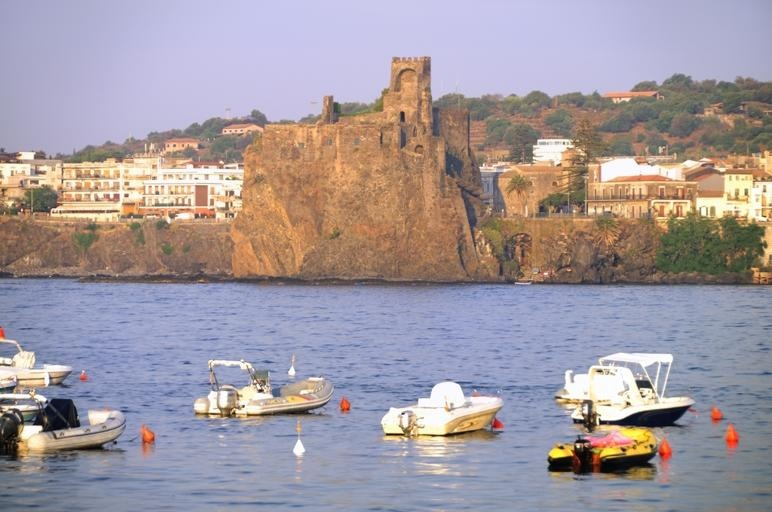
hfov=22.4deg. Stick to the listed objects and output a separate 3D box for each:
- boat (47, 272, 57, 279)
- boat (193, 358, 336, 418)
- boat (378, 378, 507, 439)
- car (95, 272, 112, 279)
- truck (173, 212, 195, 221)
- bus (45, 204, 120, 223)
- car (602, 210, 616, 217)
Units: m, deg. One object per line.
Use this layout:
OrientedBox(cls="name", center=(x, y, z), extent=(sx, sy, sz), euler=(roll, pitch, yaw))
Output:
OrientedBox(cls="boat", center=(-44.020, 2.194, 256.508), extent=(1.090, 0.724, 2.148), euler=(-3, 2, -9))
OrientedBox(cls="boat", center=(-10.364, 10.679, 165.341), extent=(10.979, 4.787, 2.293), euler=(-3, 3, -13))
OrientedBox(cls="boat", center=(5.298, 12.881, 161.923), extent=(8.890, 3.600, 4.522), euler=(-7, 9, -41))
OrientedBox(cls="car", center=(-36.591, 2.252, 252.439), extent=(2.199, 0.709, 8.574), euler=(-3, 2, -9))
OrientedBox(cls="truck", center=(-27.210, -5.766, 263.313), extent=(2.932, 1.460, 1.745), euler=(2, -1, 7))
OrientedBox(cls="bus", center=(-42.116, -6.002, 269.876), extent=(10.709, 2.636, 2.808), euler=(3, -1, 10))
OrientedBox(cls="car", center=(27.647, -5.386, 240.510), extent=(1.630, 0.617, 5.293), euler=(-2, 2, 6))
